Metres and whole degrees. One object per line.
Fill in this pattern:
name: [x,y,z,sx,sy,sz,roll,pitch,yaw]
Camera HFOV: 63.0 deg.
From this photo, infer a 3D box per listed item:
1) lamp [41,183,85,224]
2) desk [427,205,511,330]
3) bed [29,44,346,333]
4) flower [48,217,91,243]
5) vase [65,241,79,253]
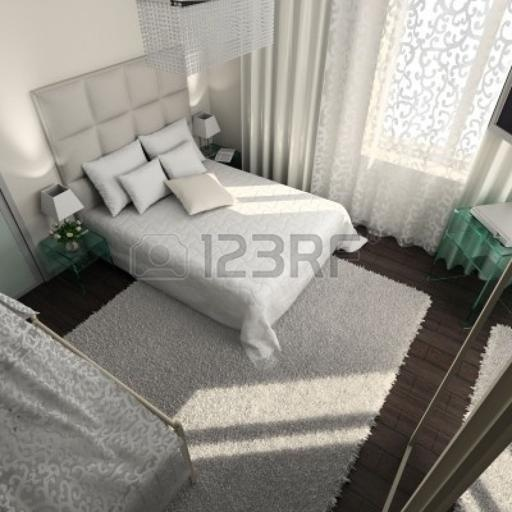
lamp: [-1.561,-0.444,3.310,0.273,0.159,0.283,22,47,18]
desk: [1.701,0.108,3.289,0.588,0.768,0.582,35,61,29]
bed: [-0.318,-0.524,3.531,2.342,1.405,1.634,31,53,15]
flower: [-1.526,-0.212,3.440,0.238,0.090,0.257,23,47,25]
vase: [-1.520,-0.079,3.458,0.082,0.061,0.090,0,9,1]
